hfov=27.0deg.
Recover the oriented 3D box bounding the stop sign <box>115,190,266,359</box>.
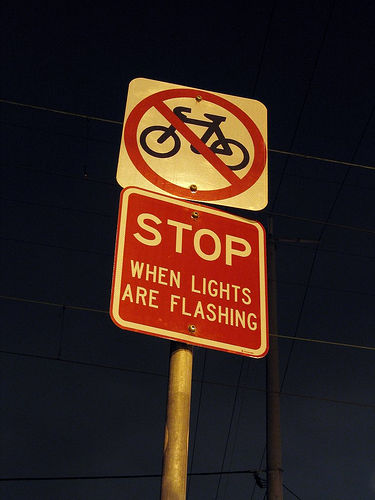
[{"bbox_3d":[0.006,0.091,2.814,0.514,0.606,0.061,14,-40,-16],"label":"stop sign"}]

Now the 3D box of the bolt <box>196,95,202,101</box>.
[{"bbox_3d":[0.049,-0.662,3.392,0.025,0.029,0.003,0,-34,-8],"label":"bolt"}]
